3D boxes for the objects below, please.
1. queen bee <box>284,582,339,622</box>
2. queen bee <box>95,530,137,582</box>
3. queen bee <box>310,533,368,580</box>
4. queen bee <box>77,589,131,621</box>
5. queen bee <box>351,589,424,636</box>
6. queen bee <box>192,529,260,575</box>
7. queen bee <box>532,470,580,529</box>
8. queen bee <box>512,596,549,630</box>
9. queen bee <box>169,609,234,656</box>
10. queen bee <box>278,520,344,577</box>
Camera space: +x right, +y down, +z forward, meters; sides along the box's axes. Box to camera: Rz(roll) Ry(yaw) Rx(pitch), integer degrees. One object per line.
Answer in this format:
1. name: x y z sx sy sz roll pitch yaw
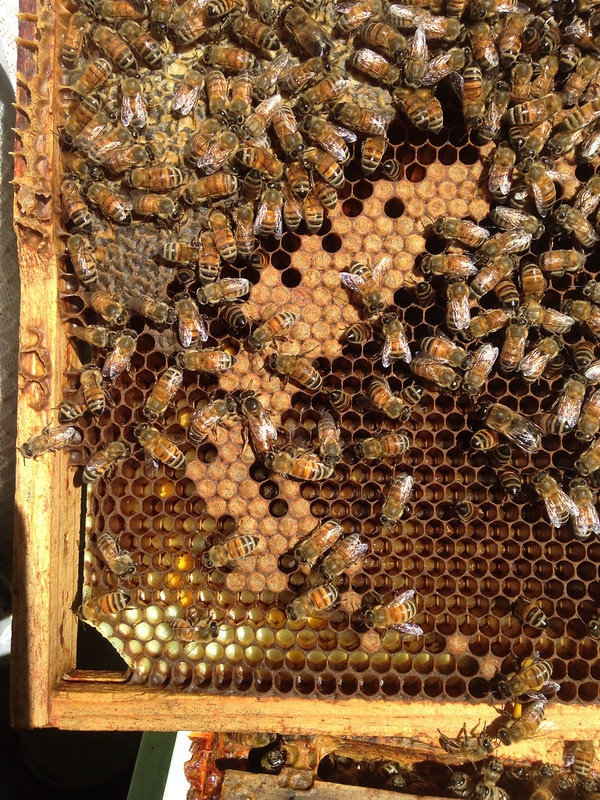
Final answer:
1. queen bee: 0.090 1.087 4.913 0.300 0.096 0.157 -24 71 -6
2. queen bee: -1.011 0.847 4.939 0.196 0.080 0.257 -39 94 -3
3. queen bee: 0.234 0.868 5.048 0.313 0.093 0.206 -39 84 -13
4. queen bee: -1.062 1.114 4.934 0.311 0.110 0.138 -15 81 -3
5. queen bee: 0.500 1.193 5.049 0.367 0.214 0.271 -4 80 -1
6. queen bee: -0.386 0.835 5.019 0.345 0.244 0.151 -33 82 -5
7. queen bee: 1.406 0.544 5.019 0.238 0.093 0.296 -29 76 2
8. queen bee: 1.270 1.169 5.025 0.118 0.221 0.082 38 89 -9
9. queen bee: -0.551 1.251 4.993 0.316 0.088 0.194 0 102 17
10. queen bee: 0.097 0.787 5.022 0.258 0.118 0.335 33 54 9
